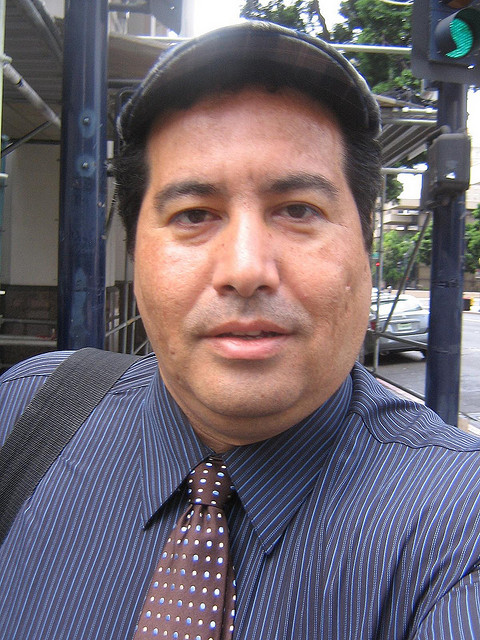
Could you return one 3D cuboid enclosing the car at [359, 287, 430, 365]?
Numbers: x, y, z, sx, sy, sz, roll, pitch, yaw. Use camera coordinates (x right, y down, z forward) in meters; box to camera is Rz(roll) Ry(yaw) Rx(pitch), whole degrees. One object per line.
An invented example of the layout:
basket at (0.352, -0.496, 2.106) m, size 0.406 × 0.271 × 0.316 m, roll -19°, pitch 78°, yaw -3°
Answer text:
car at (2.905, 0.052, 10.111) m, size 1.424 × 1.087 × 2.989 m, roll 0°, pitch 1°, yaw 5°
